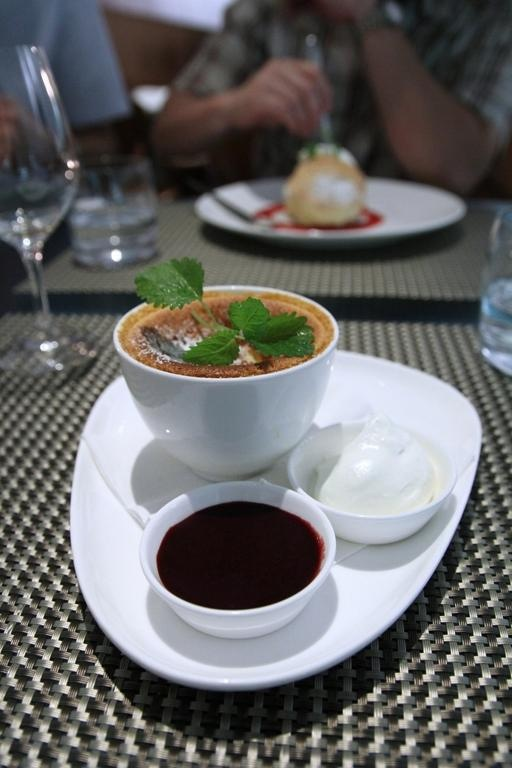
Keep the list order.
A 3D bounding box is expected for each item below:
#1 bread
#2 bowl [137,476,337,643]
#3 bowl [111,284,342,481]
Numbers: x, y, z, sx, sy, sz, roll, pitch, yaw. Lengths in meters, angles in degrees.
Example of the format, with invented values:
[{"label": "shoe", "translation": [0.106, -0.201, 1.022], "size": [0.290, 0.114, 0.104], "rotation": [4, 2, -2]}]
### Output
[{"label": "bread", "translation": [0.103, -0.263, 0.933], "size": [0.107, 0.117, 0.067], "rotation": [2, 7, 5]}, {"label": "bowl", "translation": [-0.011, 0.094, 0.374], "size": [0.114, 0.045, 0.120], "rotation": [-2, 39, 2]}, {"label": "bowl", "translation": [-0.021, -0.027, 0.455], "size": [0.159, 0.104, 0.155], "rotation": [-1, 32, 0]}]
